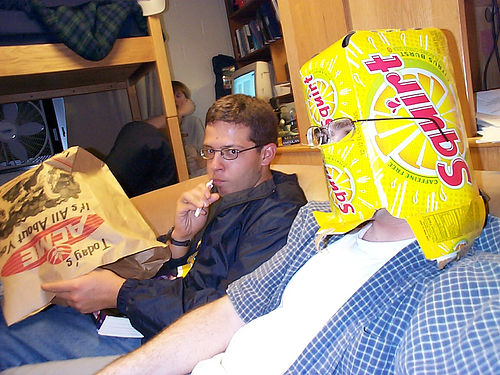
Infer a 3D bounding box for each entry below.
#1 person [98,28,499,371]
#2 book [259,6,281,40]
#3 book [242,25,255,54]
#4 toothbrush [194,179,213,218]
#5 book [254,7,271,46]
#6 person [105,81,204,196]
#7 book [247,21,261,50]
[{"bbox_3d":[0.198,0.063,0.984,0.805,0.883,0.556,2,18,33],"label":"person"},{"bbox_3d":[0.197,-1.641,3.616,0.068,0.268,0.267,-16,42,-3],"label":"book"},{"bbox_3d":[-0.020,-1.722,4.224,0.059,0.267,0.259,-4,2,-3],"label":"book"},{"bbox_3d":[-0.210,0.041,1.643,0.042,0.190,0.048,23,-4,14],"label":"toothbrush"},{"bbox_3d":[0.117,-1.671,3.795,0.080,0.312,0.302,-18,-7,3],"label":"book"},{"bbox_3d":[-0.790,-0.407,2.937,1.048,0.584,0.579,-14,-20,35],"label":"person"},{"bbox_3d":[0.043,-1.702,4.065,0.057,0.258,0.250,-8,16,-1],"label":"book"}]
